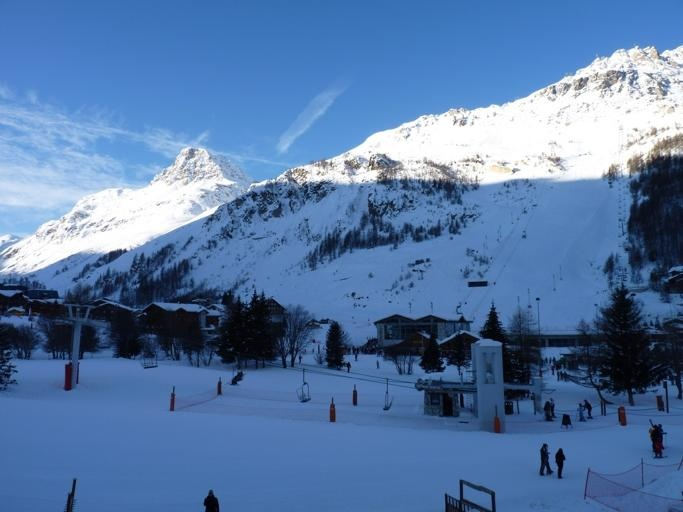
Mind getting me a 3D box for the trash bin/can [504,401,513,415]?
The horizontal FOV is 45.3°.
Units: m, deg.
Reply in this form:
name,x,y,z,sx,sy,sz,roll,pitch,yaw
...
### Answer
name,x,y,z,sx,sy,sz,roll,pitch,yaw
trash bin/can,22.296,20.206,108.746,0.932,1.781,1.963,-2,-11,27
